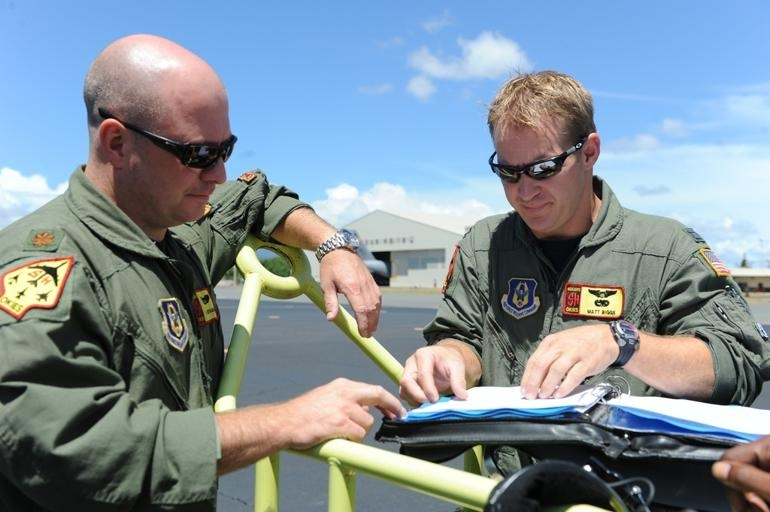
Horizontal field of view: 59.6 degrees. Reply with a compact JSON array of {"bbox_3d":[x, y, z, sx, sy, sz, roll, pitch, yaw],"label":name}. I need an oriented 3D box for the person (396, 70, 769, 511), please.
[{"bbox_3d":[0.774,0.296,2.657,1.308,1.933,1.086,-21,-33,37],"label":"person"}]
